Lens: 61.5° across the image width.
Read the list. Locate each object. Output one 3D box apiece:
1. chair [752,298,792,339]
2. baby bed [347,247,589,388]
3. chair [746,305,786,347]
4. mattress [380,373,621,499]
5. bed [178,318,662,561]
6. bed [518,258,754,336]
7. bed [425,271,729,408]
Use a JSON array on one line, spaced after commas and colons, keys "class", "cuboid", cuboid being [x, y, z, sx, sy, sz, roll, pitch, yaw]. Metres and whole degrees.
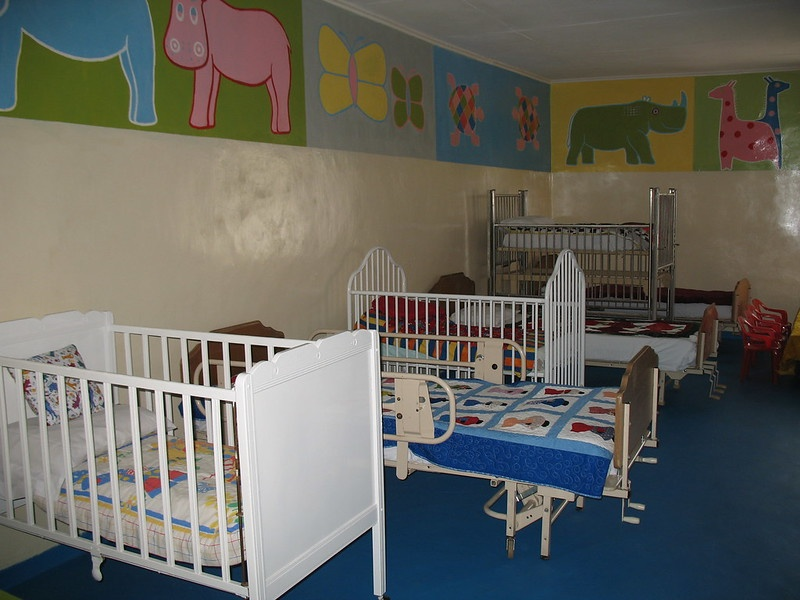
[{"class": "chair", "cuboid": [3.983, 0.209, 7.166, 0.425, 0.401, 0.318, 3, 16, 40]}, {"class": "baby bed", "cuboid": [0.547, 0.173, 5.428, 1.638, 1.177, 0.912, 3, 3, 32]}, {"class": "chair", "cuboid": [3.780, 0.231, 6.865, 0.338, 0.461, 0.339, -12, 23, -40]}, {"class": "mattress", "cuboid": [0.644, 0.736, 3.680, 0.909, 0.250, 0.787, 4, 15, 22]}, {"class": "bed", "cuboid": [0.296, 0.650, 4.175, 2.372, 1.212, 1.236, 3, 9, 25]}, {"class": "bed", "cuboid": [2.905, 0.179, 7.803, 2.022, 0.846, 1.164, 3, 10, 26]}, {"class": "bed", "cuboid": [1.906, 0.350, 6.457, 2.057, 0.913, 1.265, 3, 9, 26]}]
